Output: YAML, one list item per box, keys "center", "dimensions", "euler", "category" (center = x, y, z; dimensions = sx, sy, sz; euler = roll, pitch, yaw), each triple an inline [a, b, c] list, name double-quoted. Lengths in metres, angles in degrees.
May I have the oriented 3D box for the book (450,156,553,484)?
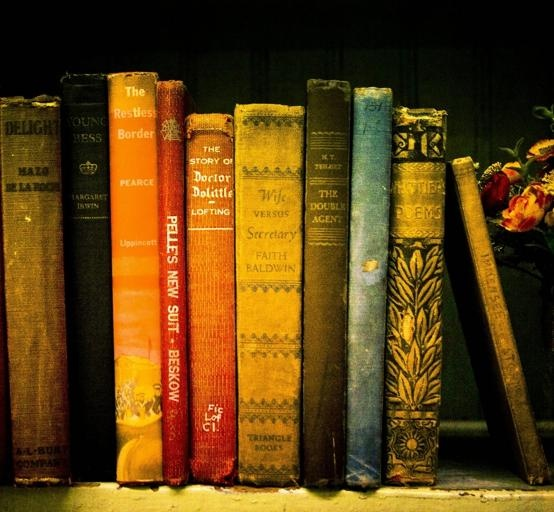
- center: [0.315, 0.092, 1.265]
  dimensions: [0.126, 0.482, 0.211]
  euler: [-1, 3, -11]
  category: "book"

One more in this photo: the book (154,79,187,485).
- center: [-0.151, 0.040, 1.179]
  dimensions: [0.035, 0.585, 0.040]
  euler: [-1, 3, -10]
  category: "book"

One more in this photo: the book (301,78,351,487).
- center: [0.072, 0.042, 1.179]
  dimensions: [0.066, 0.589, 0.037]
  euler: [0, 3, 4]
  category: "book"

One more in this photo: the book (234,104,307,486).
- center: [-0.009, 0.058, 1.185]
  dimensions: [0.097, 0.555, 0.037]
  euler: [-1, 3, -1]
  category: "book"

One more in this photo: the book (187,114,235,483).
- center: [-0.095, 0.063, 1.184]
  dimensions: [0.069, 0.540, 0.037]
  euler: [-1, 3, -4]
  category: "book"

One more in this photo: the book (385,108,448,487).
- center: [0.201, 0.059, 1.191]
  dimensions: [0.086, 0.553, 0.046]
  euler: [0, 3, 10]
  category: "book"
